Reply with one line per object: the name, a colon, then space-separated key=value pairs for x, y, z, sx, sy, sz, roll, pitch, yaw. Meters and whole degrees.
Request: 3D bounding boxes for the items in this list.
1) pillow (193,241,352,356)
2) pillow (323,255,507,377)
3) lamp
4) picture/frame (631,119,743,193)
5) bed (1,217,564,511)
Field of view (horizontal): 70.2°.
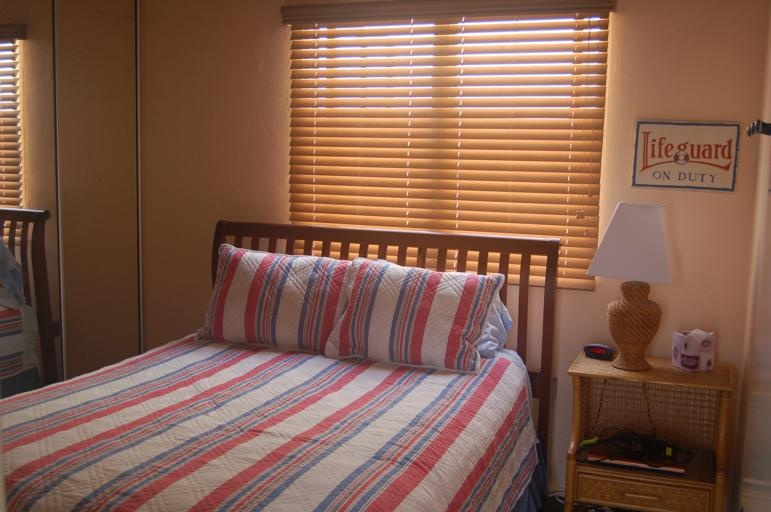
pillow: x=-0.577 y=0.263 z=3.117 sx=0.877 sy=0.574 sz=0.304 roll=5 pitch=-4 yaw=6
pillow: x=0.129 y=0.327 z=2.959 sx=0.878 sy=0.547 sz=0.309 roll=4 pitch=-8 yaw=25
lamp: x=1.272 y=0.160 z=2.765 sx=0.477 sy=0.828 sz=0.272 roll=-3 pitch=12 yaw=-29
picture/frame: x=1.610 y=-0.532 z=2.896 sx=0.411 sy=0.284 sz=0.056 roll=2 pitch=6 yaw=17
bed: x=-0.402 y=0.505 z=2.622 sx=1.576 sy=0.835 sz=0.518 roll=3 pitch=6 yaw=17
